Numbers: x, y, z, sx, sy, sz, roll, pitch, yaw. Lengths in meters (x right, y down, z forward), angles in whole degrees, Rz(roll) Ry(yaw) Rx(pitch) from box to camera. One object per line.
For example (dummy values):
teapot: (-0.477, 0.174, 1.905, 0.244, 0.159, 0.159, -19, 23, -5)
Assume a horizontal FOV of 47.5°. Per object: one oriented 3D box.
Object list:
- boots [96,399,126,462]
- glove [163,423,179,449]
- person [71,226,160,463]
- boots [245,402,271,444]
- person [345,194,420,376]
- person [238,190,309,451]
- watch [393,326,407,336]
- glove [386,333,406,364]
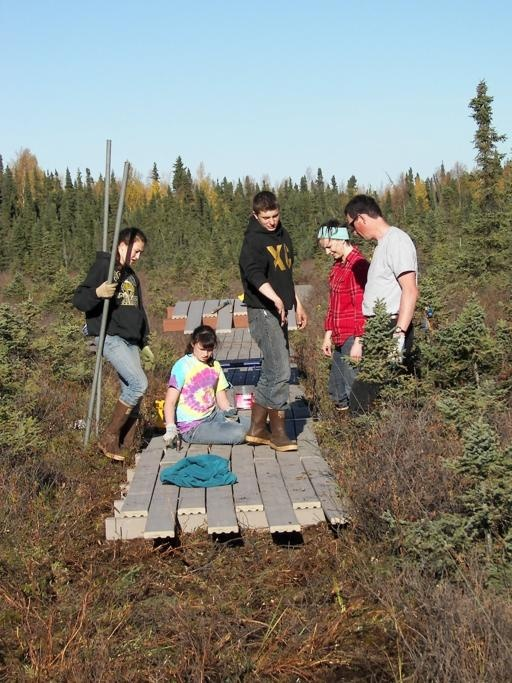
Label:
boots: (-1.296, 0.822, 5.299, 0.260, 0.561, 0.388, 0, -3, -19)
glove: (-0.728, 0.838, 5.130, 0.082, 0.199, 0.128, 24, -23, -24)
person: (-1.305, 0.022, 5.384, 0.682, 2.165, 0.713, 0, -2, -7)
boots: (0.064, 0.771, 5.335, 0.176, 0.352, 0.375, -1, -18, 29)
person: (1.024, -0.530, 4.681, 0.610, 1.371, 0.507, -2, -3, 29)
person: (0.136, -0.158, 4.944, 0.541, 2.215, 0.946, -1, -2, 6)
watch: (1.108, -0.082, 4.461, 0.067, 0.040, 0.056, 15, 0, 11)
glove: (1.111, 0.055, 4.551, 0.135, 0.233, 0.243, -1, -3, 13)
